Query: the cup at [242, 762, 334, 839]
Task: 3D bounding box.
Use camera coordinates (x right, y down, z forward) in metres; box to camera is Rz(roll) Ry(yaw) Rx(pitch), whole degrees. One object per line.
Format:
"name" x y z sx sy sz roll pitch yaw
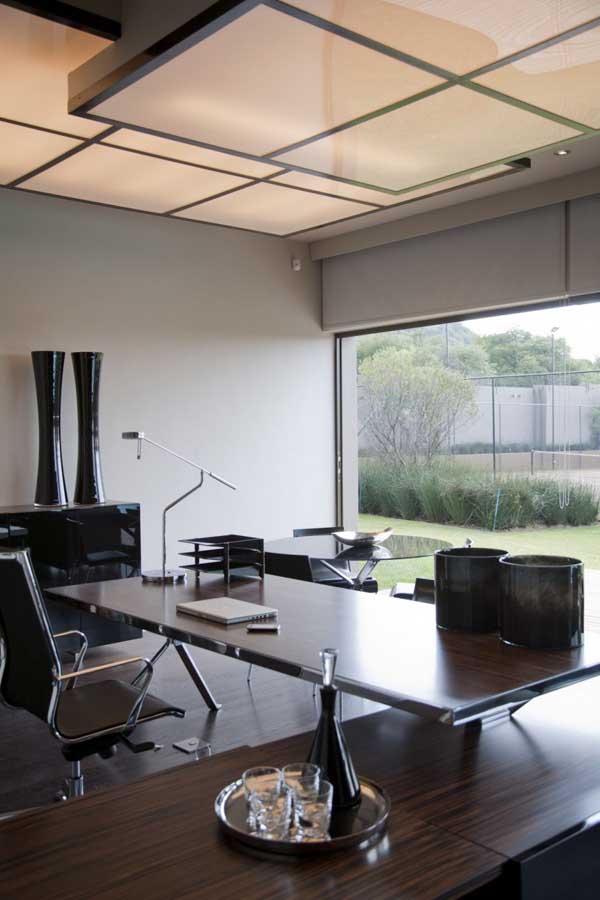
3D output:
"cup" -0.015 0.458 0.968 0.079 0.050 0.121 2 -6 -24

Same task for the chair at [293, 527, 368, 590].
"chair" 0.173 0.687 4.662 0.372 0.505 0.413 1 -5 -24
